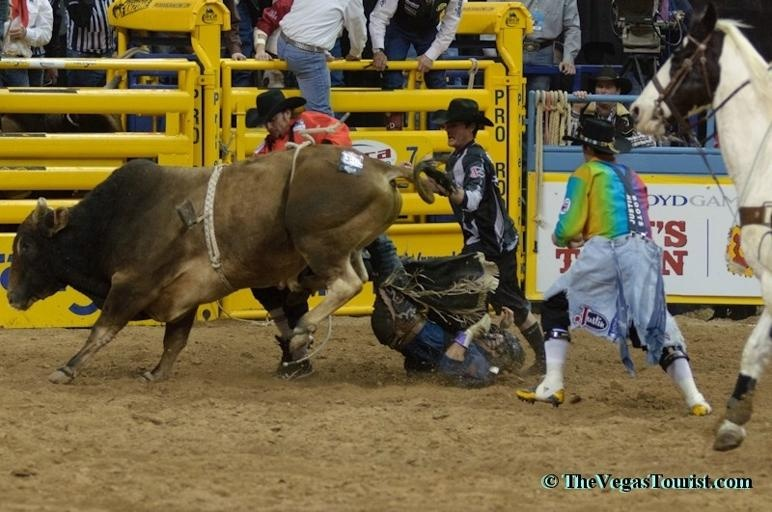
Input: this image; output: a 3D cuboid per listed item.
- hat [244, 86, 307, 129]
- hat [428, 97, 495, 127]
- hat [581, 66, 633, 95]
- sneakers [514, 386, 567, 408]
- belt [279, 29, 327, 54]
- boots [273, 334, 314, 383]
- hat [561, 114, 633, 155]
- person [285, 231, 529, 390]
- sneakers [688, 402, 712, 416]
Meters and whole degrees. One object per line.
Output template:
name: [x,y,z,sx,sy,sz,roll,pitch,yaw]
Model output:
hat: [-0.997,-1.298,11.688,0.463,0.173,0.370,-30,12,-38]
hat: [0.672,-1.300,12.084,0.452,0.168,0.462,0,7,-7]
hat: [2.447,-1.932,14.805,0.560,0.205,0.574,3,-15,15]
sneakers: [1.245,1.141,10.822,0.414,0.167,0.148,5,-9,11]
belt: [-0.814,-1.995,12.702,0.277,0.060,0.260,16,3,16]
boots: [-0.687,0.903,11.412,0.446,0.376,0.234,-8,11,-38]
hat: [1.696,-0.922,10.846,0.474,0.152,0.366,15,30,3]
person: [0.427,0.517,11.310,1.260,0.768,1.785,-6,-3,8]
sneakers: [2.454,1.202,10.496,0.150,0.126,0.058,44,-6,13]
